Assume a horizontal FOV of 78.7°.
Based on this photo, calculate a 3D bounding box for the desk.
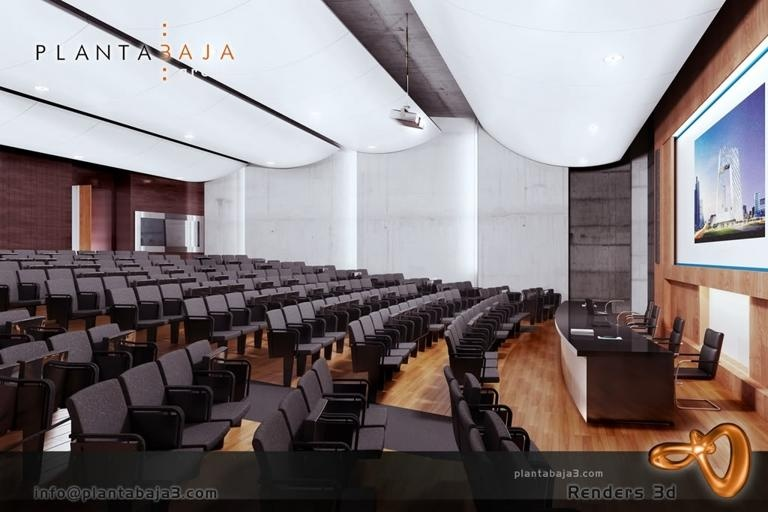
[{"bbox_3d":[3.069,1.537,6.467,1.143,1.022,1.640,-2,1,9],"label":"desk"}]
